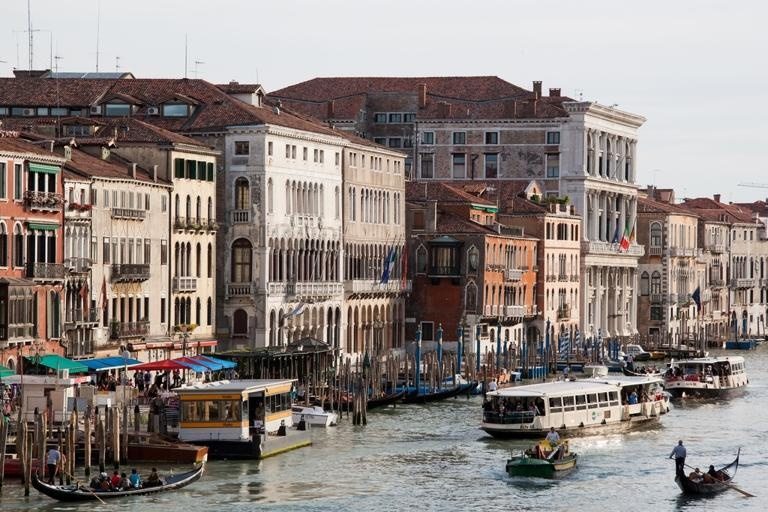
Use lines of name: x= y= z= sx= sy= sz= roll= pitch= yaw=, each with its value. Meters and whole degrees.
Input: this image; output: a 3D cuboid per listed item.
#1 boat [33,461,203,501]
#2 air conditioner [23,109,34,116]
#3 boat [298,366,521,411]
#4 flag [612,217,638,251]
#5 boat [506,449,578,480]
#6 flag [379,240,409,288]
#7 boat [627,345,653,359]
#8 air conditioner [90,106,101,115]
boat: x=-15.207 y=12.724 z=121.791 sx=11.769 sy=2.016 sz=2.105 roll=0 pitch=0 yaw=-21
air conditioner: x=-27.133 y=-10.837 z=164.334 sx=1.091 sy=0.705 sz=0.593 roll=-2 pitch=-4 yaw=-6
boat: x=1.256 y=9.388 z=151.796 sx=14.955 sy=2.068 sz=2.535 roll=-2 pitch=0 yaw=-29
flag: x=23.571 y=-2.069 z=212.239 sx=3.430 sy=3.831 sz=0.330 roll=3 pitch=5 yaw=18
boat: x=9.404 y=12.326 z=127.156 sx=4.085 sy=1.434 sz=1.650 roll=0 pitch=-4 yaw=-26
flag: x=0.737 y=0.796 z=178.646 sx=0.238 sy=3.413 sz=3.675 roll=4 pitch=-6 yaw=31
boat: x=23.147 y=8.765 z=195.971 sx=2.210 sy=0.953 sz=1.243 roll=-1 pitch=4 yaw=-10
air conditioner: x=-21.539 y=-10.754 z=161.417 sx=0.849 sy=0.833 sz=0.942 roll=-2 pitch=-4 yaw=-7
